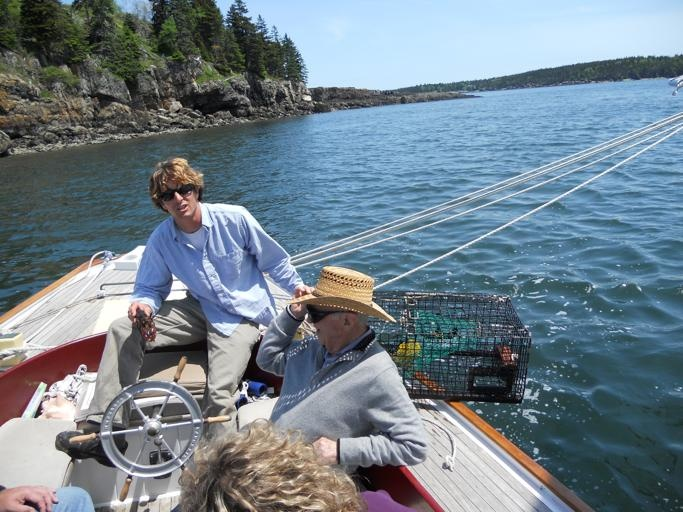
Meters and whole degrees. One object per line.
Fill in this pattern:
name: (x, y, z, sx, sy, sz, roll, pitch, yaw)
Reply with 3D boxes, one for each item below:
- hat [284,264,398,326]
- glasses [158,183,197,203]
hat: (0.005, 0.187, 2.585, 0.437, 0.132, 0.326, 11, -3, 1)
glasses: (-1.089, -0.426, 3.339, 0.244, 0.103, 0.091, -10, 24, -15)
